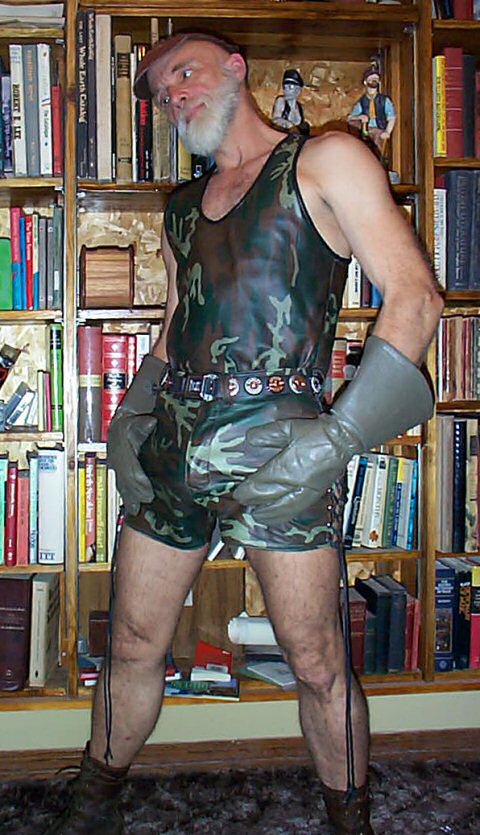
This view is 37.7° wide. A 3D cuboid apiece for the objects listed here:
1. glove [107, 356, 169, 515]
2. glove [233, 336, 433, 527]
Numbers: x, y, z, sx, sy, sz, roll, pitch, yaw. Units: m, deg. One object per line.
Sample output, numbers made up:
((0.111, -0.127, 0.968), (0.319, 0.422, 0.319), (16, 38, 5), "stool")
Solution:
((-0.206, 0.019, 1.274), (0.066, 0.232, 0.168), (5, 19, -12), "glove")
((0.131, 0.023, 1.000), (0.277, 0.270, 0.136), (0, 0, 2), "glove")
